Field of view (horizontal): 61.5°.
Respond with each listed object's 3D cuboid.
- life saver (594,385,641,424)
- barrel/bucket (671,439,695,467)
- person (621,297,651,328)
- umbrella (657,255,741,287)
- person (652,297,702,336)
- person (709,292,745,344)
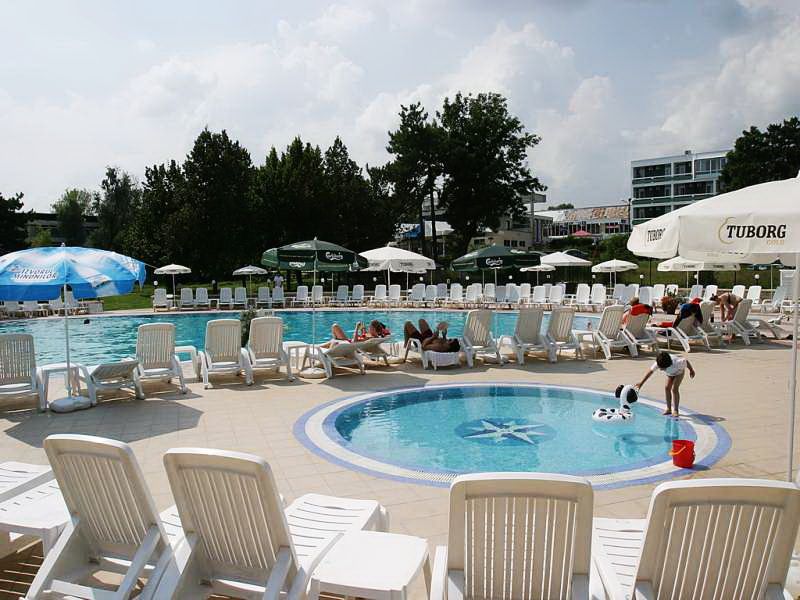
[{"bbox_3d":[3.444,1.612,10.698,0.710,0.627,0.473,-6,2,-15],"label":"life saver"},{"bbox_3d":[3.627,1.960,8.633,0.301,0.284,0.283,-1,3,0],"label":"barrel/bucket"},{"bbox_3d":[5.561,0.338,16.117,0.658,0.812,0.614,-17,23,-37],"label":"person"},{"bbox_3d":[12.649,-1.128,28.181,2.816,1.922,2.933,2,-2,-43],"label":"umbrella"},{"bbox_3d":[7.032,0.382,17.577,0.797,0.989,1.634,11,-3,-19],"label":"person"},{"bbox_3d":[9.772,0.194,20.096,1.335,0.786,0.360,3,-1,-37],"label":"person"}]
